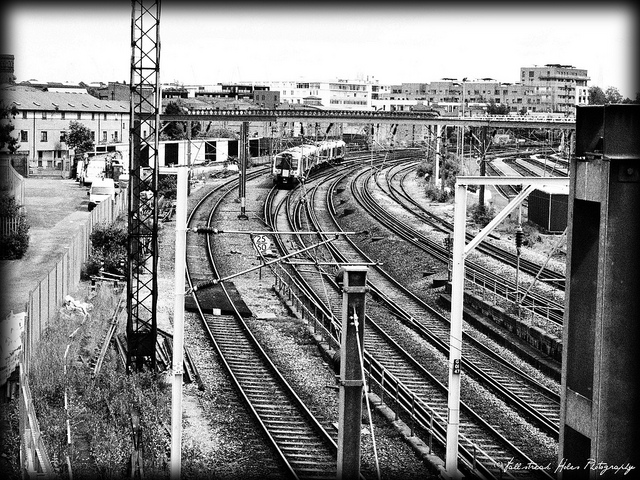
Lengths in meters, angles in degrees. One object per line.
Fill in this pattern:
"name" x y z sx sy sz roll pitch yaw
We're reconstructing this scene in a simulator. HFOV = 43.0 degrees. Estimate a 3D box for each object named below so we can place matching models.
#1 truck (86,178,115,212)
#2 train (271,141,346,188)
"truck" -13.177 -2.813 49.448 1.648 2.085 3.664 2 9 -13
"train" -0.690 -6.762 67.097 1.879 3.132 15.925 2 10 10
